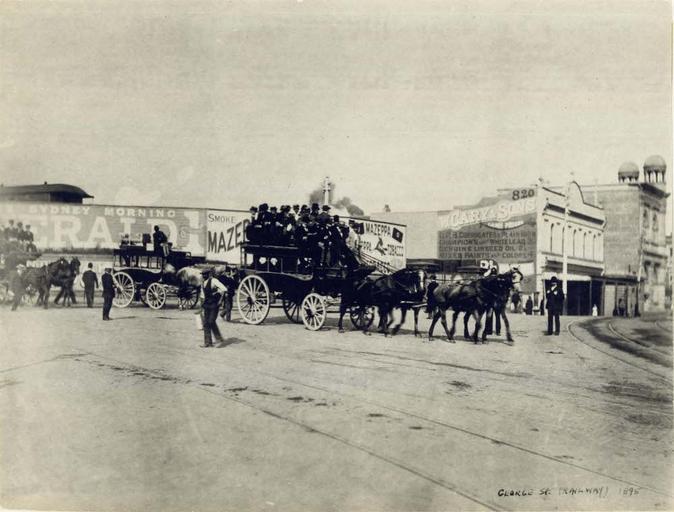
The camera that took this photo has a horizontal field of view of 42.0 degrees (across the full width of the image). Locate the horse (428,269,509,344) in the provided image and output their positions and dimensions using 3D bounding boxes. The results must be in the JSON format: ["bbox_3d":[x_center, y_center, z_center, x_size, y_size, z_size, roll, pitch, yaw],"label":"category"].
[{"bbox_3d":[3.139,1.209,20.872,2.294,1.686,0.662,3,3,40],"label":"horse"}]

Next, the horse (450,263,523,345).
[{"bbox_3d":[3.470,1.170,20.706,1.451,1.859,1.190,1,9,-10],"label":"horse"}]

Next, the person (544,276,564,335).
[{"bbox_3d":[5.720,1.286,23.039,0.497,1.459,0.520,0,-2,25],"label":"person"}]

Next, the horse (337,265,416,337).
[{"bbox_3d":[1.104,1.120,21.440,0.661,1.849,2.586,14,-10,-36],"label":"horse"}]

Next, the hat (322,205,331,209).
[{"bbox_3d":[-0.253,-1.186,21.237,0.195,0.122,0.292,2,8,-5],"label":"hat"}]

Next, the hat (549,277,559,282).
[{"bbox_3d":[5.691,0.605,22.879,0.196,0.189,0.108,2,7,17],"label":"hat"}]

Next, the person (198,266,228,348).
[{"bbox_3d":[-2.705,1.120,19.117,0.523,1.668,0.738,1,9,-9],"label":"person"}]

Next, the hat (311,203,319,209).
[{"bbox_3d":[-0.540,-1.234,21.453,0.100,0.194,0.196,1,3,15],"label":"hat"}]

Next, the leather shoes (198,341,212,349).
[{"bbox_3d":[-2.861,1.878,18.936,0.277,0.153,0.275,4,9,12],"label":"leather shoes"}]

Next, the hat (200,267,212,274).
[{"bbox_3d":[-2.848,0.321,19.086,0.158,0.146,0.042,-1,-28,-3],"label":"hat"}]

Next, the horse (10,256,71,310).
[{"bbox_3d":[-8.137,0.756,23.963,1.781,1.239,0.551,-5,-5,14],"label":"horse"}]
